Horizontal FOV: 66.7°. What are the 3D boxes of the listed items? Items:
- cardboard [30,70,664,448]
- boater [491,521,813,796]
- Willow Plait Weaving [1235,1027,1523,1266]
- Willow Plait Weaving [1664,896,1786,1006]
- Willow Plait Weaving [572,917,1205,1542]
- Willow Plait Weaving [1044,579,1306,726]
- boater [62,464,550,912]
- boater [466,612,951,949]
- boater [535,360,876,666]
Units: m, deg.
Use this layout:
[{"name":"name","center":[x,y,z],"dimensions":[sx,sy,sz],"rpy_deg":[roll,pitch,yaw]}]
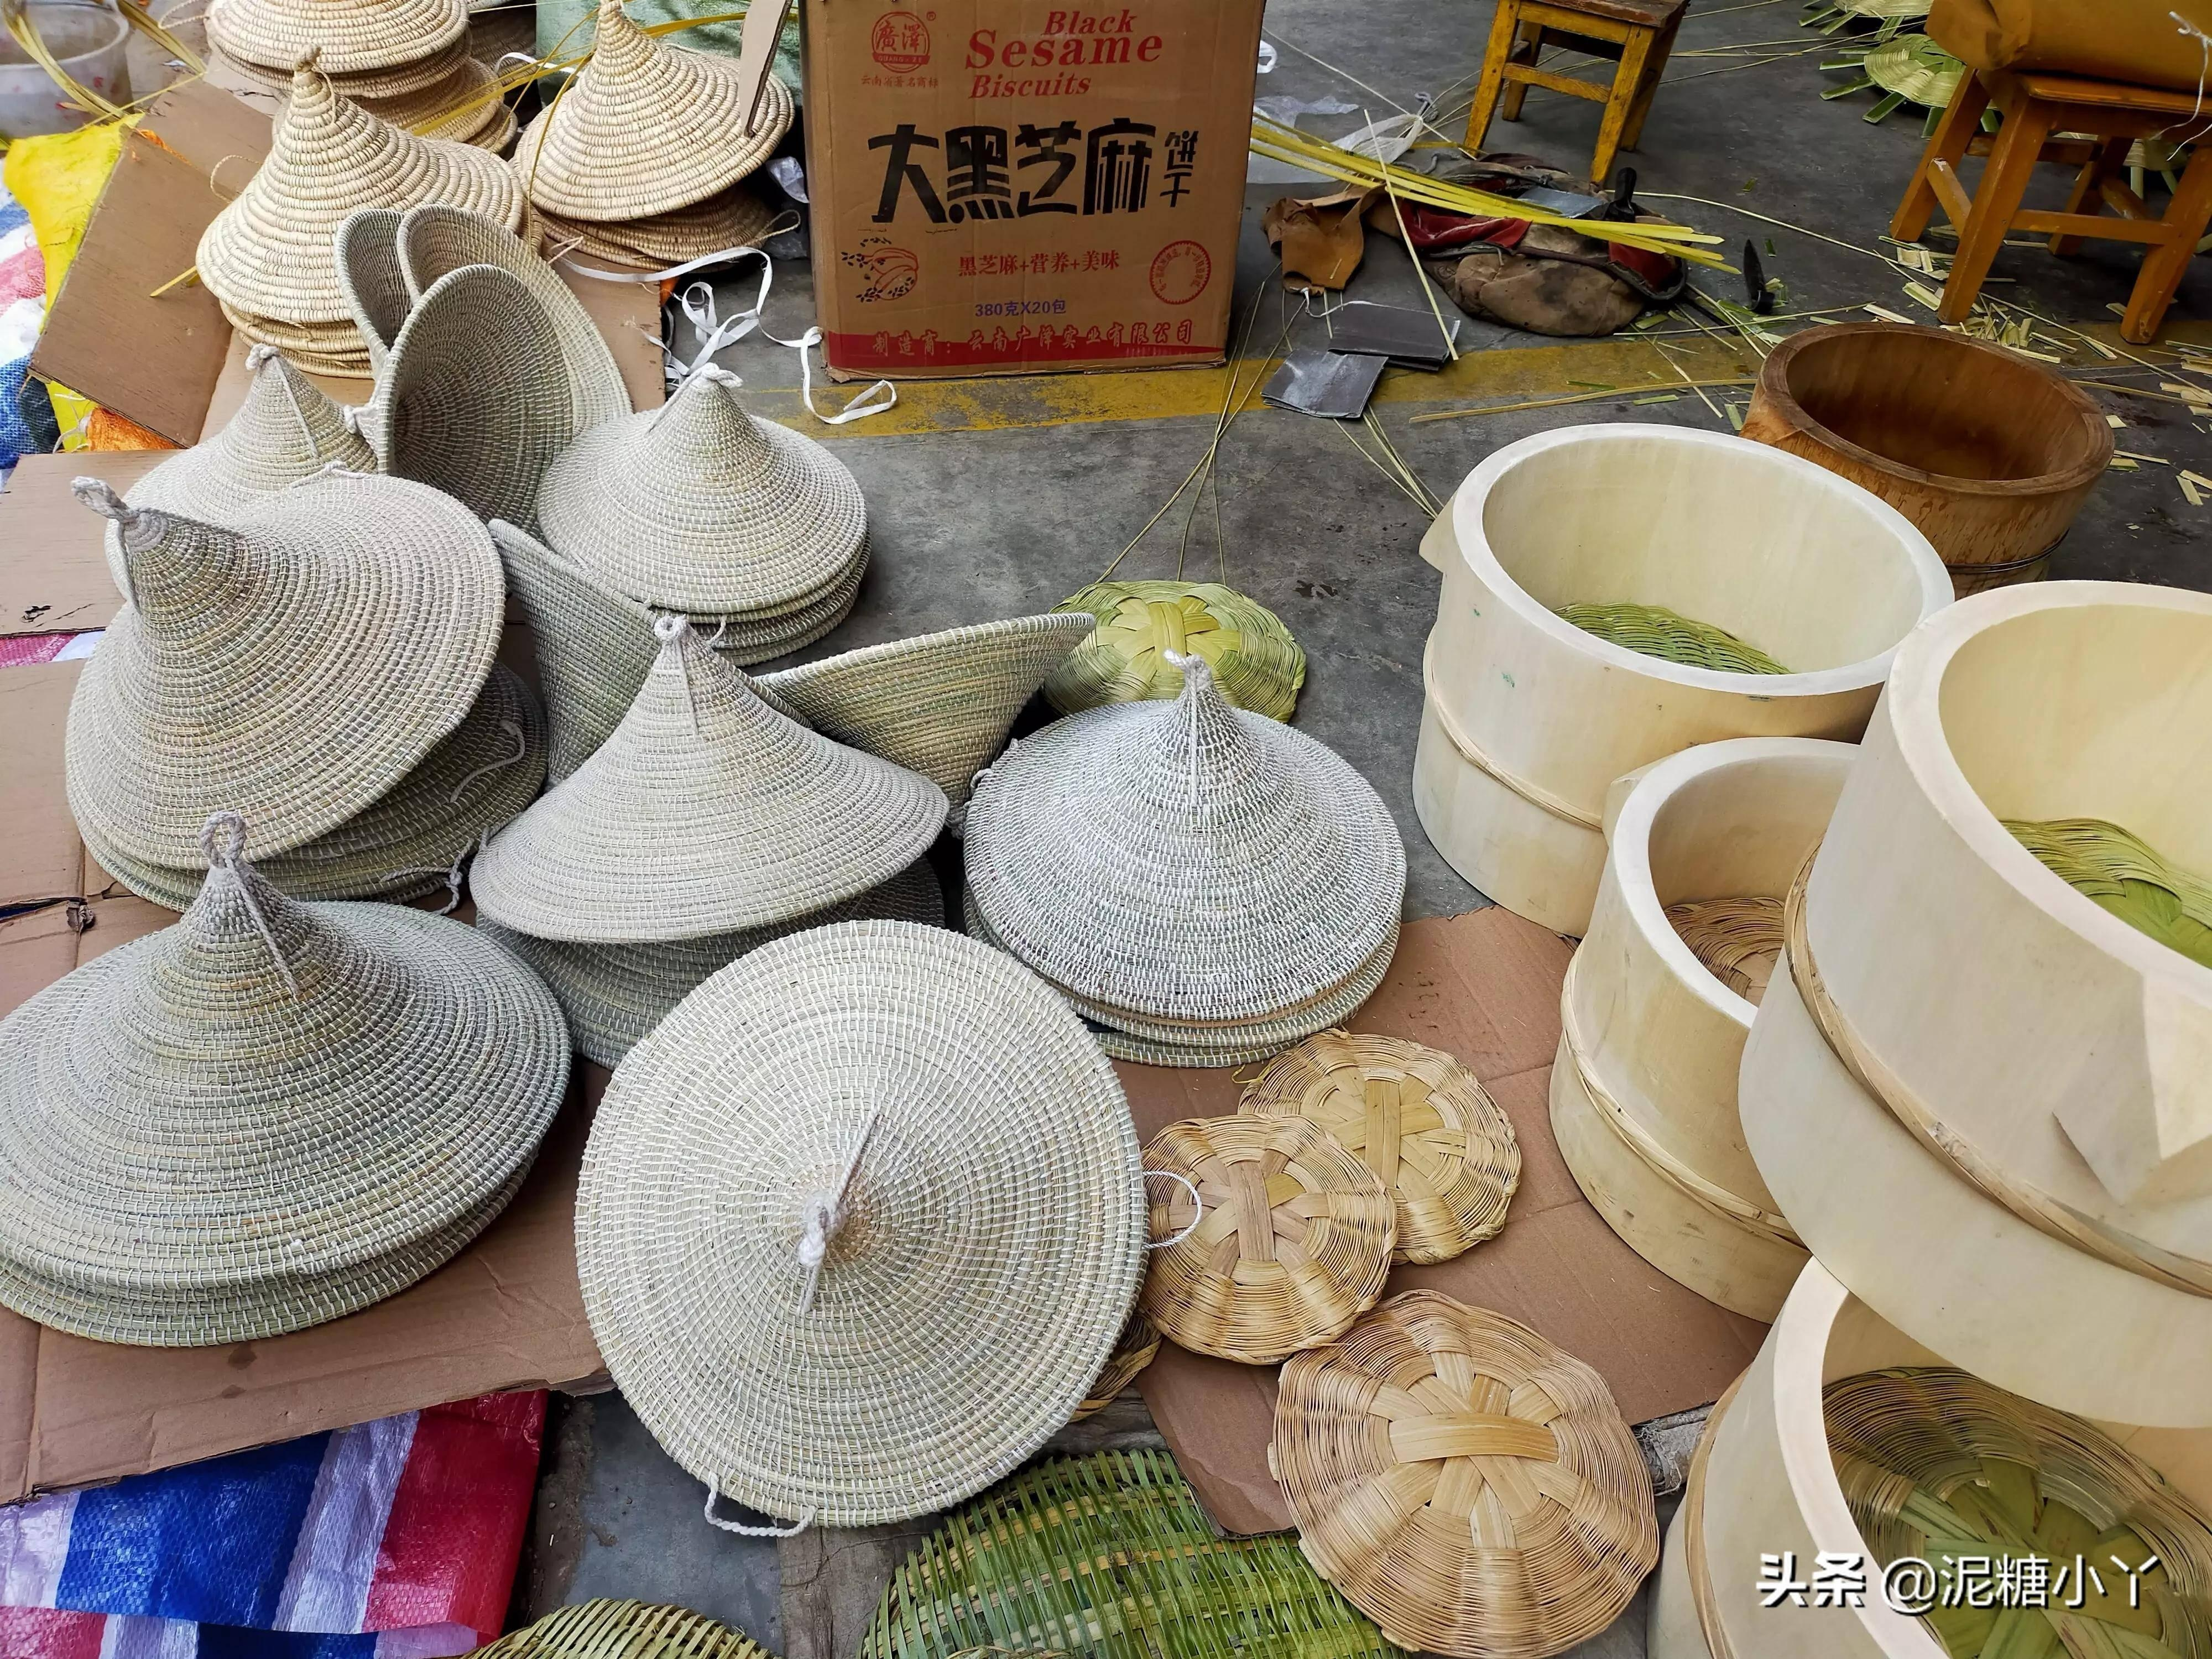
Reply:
[{"name":"cardboard","center":[-2.206,-1.294,4.705],"dimensions":[1.321,0.193,1.147],"rpy_deg":[26,58,-16]},{"name":"boater","center":[-0.887,-0.371,3.571],"dimensions":[0.618,0.562,0.537],"rpy_deg":[-17,47,-24]},{"name":"Willow Plait Weaving","center":[0.553,0.552,3.134],"dimensions":[0.402,0.104,0.408],"rpy_deg":[-14,46,-27]},{"name":"Willow Plait Weaving","center":[1.151,0.235,3.240],"dimensions":[0.058,0.256,0.241],"rpy_deg":[-42,68,-12]},{"name":"Willow Plait Weaving","center":[-0.399,0.600,2.746],"dimensions":[0.908,0.416,0.901],"rpy_deg":[-33,64,-23]},{"name":"Willow Plait Weaving","center":[0.129,-0.401,3.979],"dimensions":[0.595,0.619,0.178],"rpy_deg":[-6,78,11]},{"name":"boater","center":[-1.558,-0.296,3.438],"dimensions":[0.836,0.669,0.897],"rpy_deg":[4,60,9]},{"name":"boater","center":[-0.798,-0.175,3.278],"dimensions":[0.936,0.447,0.911],"rpy_deg":[-17,28,-33]},{"name":"boater","center":[-0.891,-0.691,3.820],"dimensions":[0.733,0.485,0.734],"rpy_deg":[-7,55,-20]}]
